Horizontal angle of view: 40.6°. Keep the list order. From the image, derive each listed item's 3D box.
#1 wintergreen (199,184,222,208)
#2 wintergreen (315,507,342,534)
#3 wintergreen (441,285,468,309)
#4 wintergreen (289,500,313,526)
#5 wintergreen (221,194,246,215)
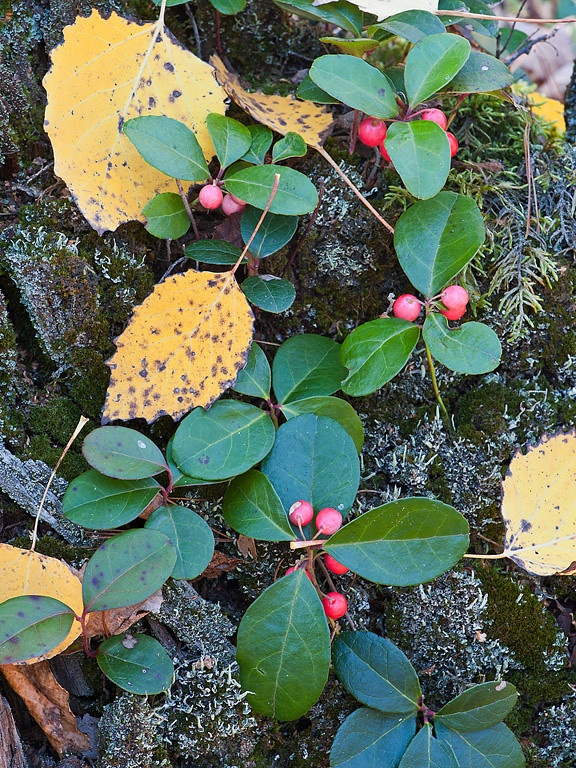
[{"bbox_3d":[-0.148,-0.376,1.568,0.050,0.054,0.048,3,13,6],"label":"wintergreen"},{"bbox_3d":[0.081,0.267,1.504,0.049,0.066,0.060,4,51,2],"label":"wintergreen"},{"bbox_3d":[0.346,-0.178,1.604,0.054,0.035,0.042,12,51,9],"label":"wintergreen"},{"bbox_3d":[0.029,0.247,1.491,0.047,0.026,0.045,10,74,-14],"label":"wintergreen"},{"bbox_3d":[-0.113,-0.381,1.652,0.043,0.047,0.041,3,20,7],"label":"wintergreen"}]
